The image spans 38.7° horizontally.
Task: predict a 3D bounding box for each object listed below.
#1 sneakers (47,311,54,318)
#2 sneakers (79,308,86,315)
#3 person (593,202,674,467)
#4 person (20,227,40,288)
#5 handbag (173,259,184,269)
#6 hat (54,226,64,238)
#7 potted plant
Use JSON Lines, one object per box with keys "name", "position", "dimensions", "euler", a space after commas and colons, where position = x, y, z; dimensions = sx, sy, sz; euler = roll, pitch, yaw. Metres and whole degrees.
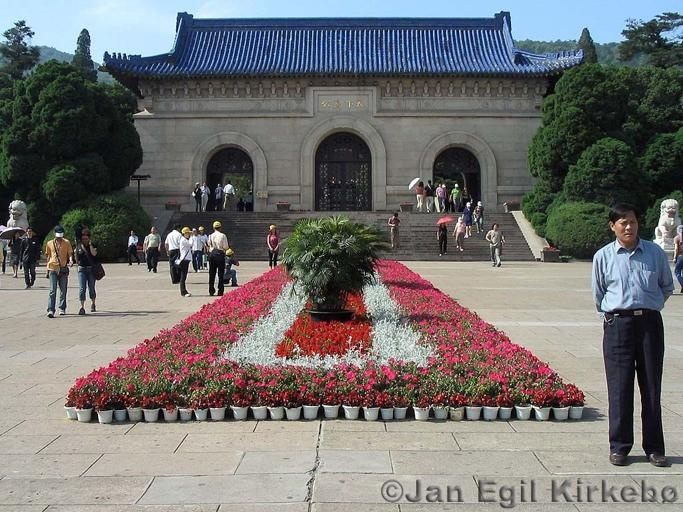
{"name": "sneakers", "position": [-5.523, 1.088, 18.561], "dimensions": [0.136, 0.117, 0.306], "euler": [-1, 6, -16]}
{"name": "sneakers", "position": [-4.993, 1.072, 18.821], "dimensions": [0.133, 0.129, 0.080], "euler": [4, -16, -8]}
{"name": "person", "position": [3.701, 0.982, 12.401], "dimensions": [0.980, 3.261, 0.686], "euler": [2, 6, 14]}
{"name": "person", "position": [-7.500, 0.026, 23.547], "dimensions": [0.426, 1.430, 1.163], "euler": [-1, 6, -18]}
{"name": "handbag", "position": [-3.663, 0.134, 22.048], "dimensions": [0.226, 0.209, 0.055], "euler": [-8, -34, 34]}
{"name": "hat", "position": [-5.536, -0.486, 19.108], "dimensions": [0.202, 0.166, 0.303], "euler": [1, 0, -15]}
{"name": "potted plant", "position": [0.030, 0.214, 16.894], "dimensions": [1.750, 1.728, 1.793], "euler": [1, -1, 23]}
